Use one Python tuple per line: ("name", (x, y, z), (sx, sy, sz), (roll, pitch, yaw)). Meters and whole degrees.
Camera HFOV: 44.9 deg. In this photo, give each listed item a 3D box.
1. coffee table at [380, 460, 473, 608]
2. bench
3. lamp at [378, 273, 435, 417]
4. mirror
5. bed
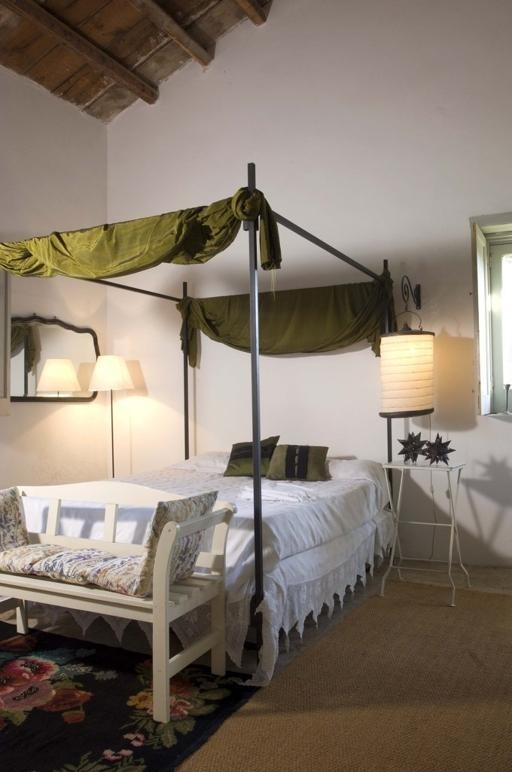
("coffee table", (1.098, 0.950, 3.957), (0.627, 1.068, 0.604), (-3, -9, 29))
("bench", (-0.534, 0.870, 2.438), (0.746, 0.482, 0.272), (0, 0, 30))
("lamp", (0.946, -0.270, 3.942), (0.349, 0.913, 0.352), (-1, -1, 23))
("mirror", (-1.663, -0.219, 5.042), (0.016, 0.550, 0.755), (-2, -2, 19))
("bed", (0.123, 0.747, 3.145), (1.011, 0.499, 1.317), (-1, -3, 29))
